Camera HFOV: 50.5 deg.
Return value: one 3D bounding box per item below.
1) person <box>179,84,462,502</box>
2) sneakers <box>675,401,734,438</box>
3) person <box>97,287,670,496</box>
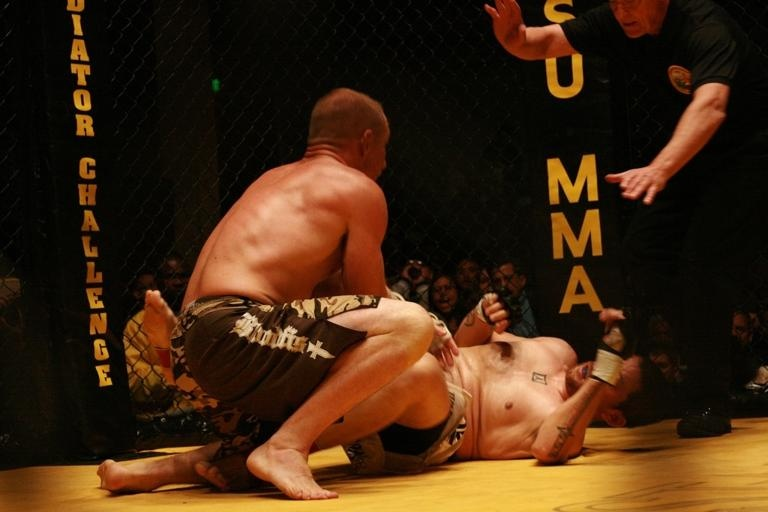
[{"bbox_3d":[-0.281,0.143,3.591,1.189,1.675,1.136,5,1,-27],"label":"person"},{"bbox_3d":[1.490,0.761,3.793,0.181,0.084,0.240,-3,-1,16],"label":"sneakers"},{"bbox_3d":[0.220,0.587,3.835,1.964,0.648,1.166,5,11,-6],"label":"person"}]
